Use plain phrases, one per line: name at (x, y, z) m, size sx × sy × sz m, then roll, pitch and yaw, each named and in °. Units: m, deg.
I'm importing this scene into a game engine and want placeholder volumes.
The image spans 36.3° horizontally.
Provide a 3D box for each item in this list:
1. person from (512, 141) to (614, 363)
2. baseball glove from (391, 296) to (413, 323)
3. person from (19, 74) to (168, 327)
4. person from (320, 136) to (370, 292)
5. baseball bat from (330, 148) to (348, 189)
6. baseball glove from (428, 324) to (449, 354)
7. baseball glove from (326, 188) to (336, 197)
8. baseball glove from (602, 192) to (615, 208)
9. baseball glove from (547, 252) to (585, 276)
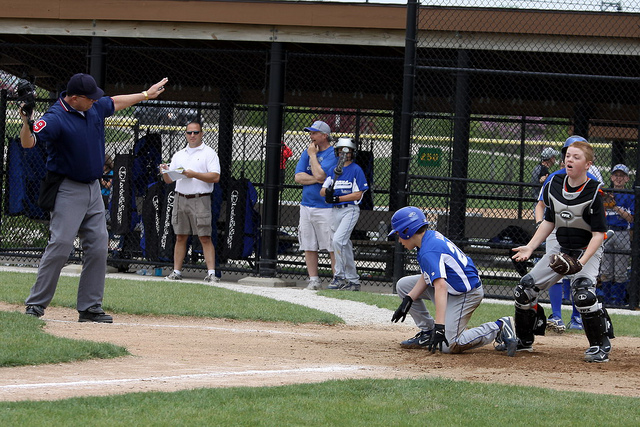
person at (2.930, 0.426, 11.572) m, size 1.139 × 2.419 × 1.232 m, roll 2°, pitch 0°, yaw 17°
baseball glove at (0.962, 1.089, 11.260) m, size 0.189 × 0.290 × 0.355 m, roll 2°, pitch 0°, yaw 36°
person at (-2.927, -0.145, 11.479) m, size 1.271 × 3.012 × 0.658 m, roll 3°, pitch 0°, yaw -21°
person at (0.345, -0.005, 14.794) m, size 0.696 × 2.307 × 0.471 m, roll 3°, pitch 0°, yaw -40°
baseball bat at (0.285, -0.658, 14.712) m, size 0.119 × 0.619 × 0.112 m, roll 27°, pitch -1°, yaw -37°
baseball glove at (1.348, 1.390, 11.080) m, size 0.210 × 0.316 × 0.404 m, roll 3°, pitch 0°, yaw 10°
baseball glove at (0.151, -0.316, 14.603) m, size 0.134 × 0.129 × 0.055 m, roll 3°, pitch 0°, yaw -37°
baseball glove at (4.424, -0.206, 14.984) m, size 0.161 × 0.214 × 0.383 m, roll 3°, pitch 0°, yaw 16°
baseball glove at (2.801, 0.578, 11.096) m, size 0.398 × 0.235 × 0.251 m, roll 3°, pitch 0°, yaw -2°
